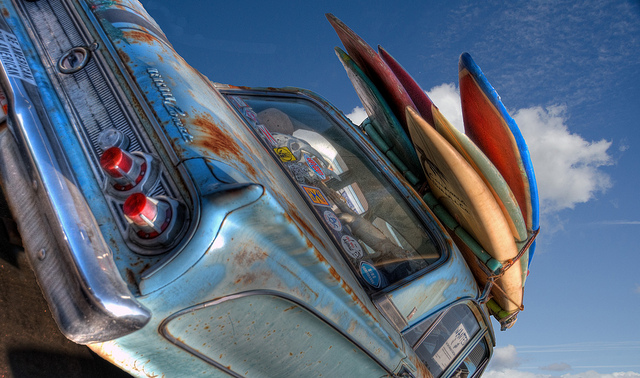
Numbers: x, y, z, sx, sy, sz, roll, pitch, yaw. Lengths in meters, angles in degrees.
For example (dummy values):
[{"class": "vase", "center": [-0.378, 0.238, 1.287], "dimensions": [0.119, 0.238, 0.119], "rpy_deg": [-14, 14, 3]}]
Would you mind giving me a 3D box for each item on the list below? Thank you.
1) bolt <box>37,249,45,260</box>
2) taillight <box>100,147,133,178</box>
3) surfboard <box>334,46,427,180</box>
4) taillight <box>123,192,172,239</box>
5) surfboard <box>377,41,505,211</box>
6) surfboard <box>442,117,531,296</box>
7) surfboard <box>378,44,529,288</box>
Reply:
[{"class": "bolt", "center": [-2.039, 0.478, 3.606], "dimensions": [0.061, 0.076, 0.014], "rpy_deg": [-4, -16, 21]}, {"class": "taillight", "center": [-1.613, -0.206, 3.909], "dimensions": [0.257, 0.256, 0.264], "rpy_deg": [-5, 0, -7]}, {"class": "surfboard", "center": [0.800, -0.873, 6.379], "dimensions": [0.247, 2.482, 0.418], "rpy_deg": [-12, -34, -24]}, {"class": "taillight", "center": [-1.407, 0.183, 3.778], "dimensions": [0.337, 0.355, 0.343], "rpy_deg": [10, 12, 32]}, {"class": "surfboard", "center": [1.452, -0.517, 5.862], "dimensions": [0.205, 2.708, 0.456], "rpy_deg": [0, -42, -18]}, {"class": "surfboard", "center": [1.899, 0.210, 5.673], "dimensions": [0.203, 0.441, 2.580], "rpy_deg": [-6, -58, 49]}, {"class": "surfboard", "center": [1.571, 0.038, 5.750], "dimensions": [3.627, 0.619, 0.379], "rpy_deg": [51, -19, -6]}]
